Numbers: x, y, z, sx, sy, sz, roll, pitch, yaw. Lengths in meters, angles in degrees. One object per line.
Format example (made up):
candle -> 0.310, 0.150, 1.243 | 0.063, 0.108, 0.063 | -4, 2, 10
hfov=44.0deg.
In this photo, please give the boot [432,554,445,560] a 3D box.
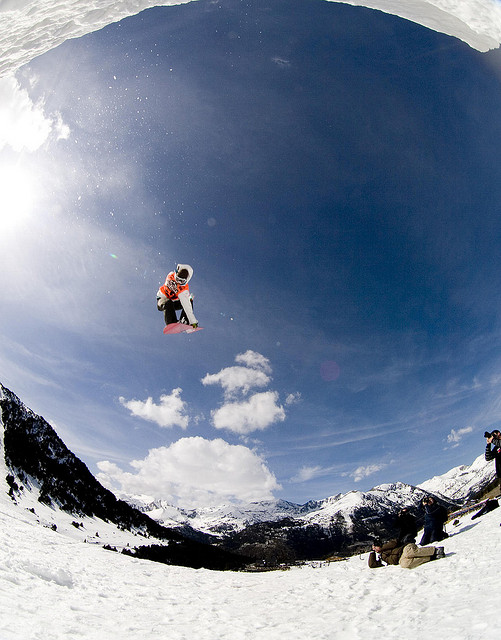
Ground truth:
boot -> 7.229, 9.112, 23.895 | 0.482, 0.167, 0.314 | -7, -40, 11
